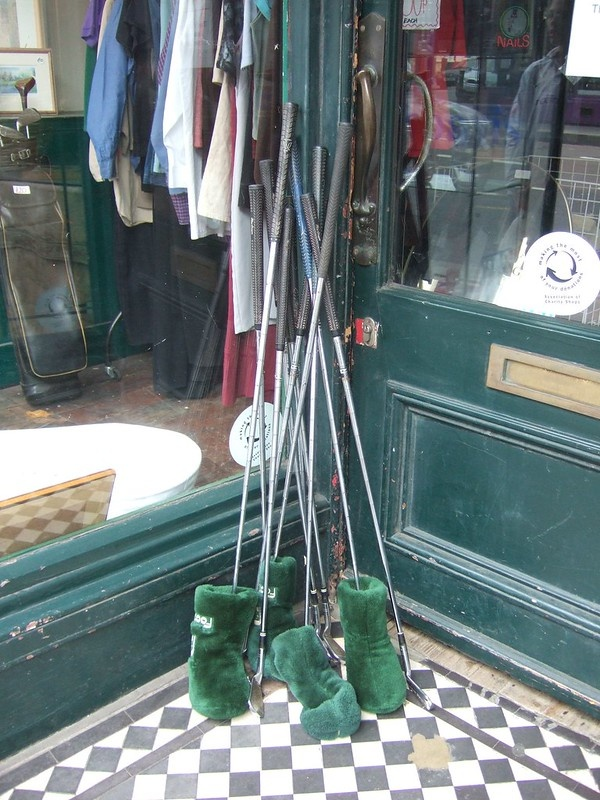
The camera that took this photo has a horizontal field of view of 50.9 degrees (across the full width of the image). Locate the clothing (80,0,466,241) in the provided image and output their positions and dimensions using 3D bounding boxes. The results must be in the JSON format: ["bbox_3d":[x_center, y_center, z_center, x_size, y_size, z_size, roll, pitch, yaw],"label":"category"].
[{"bbox_3d":[-0.057,-0.632,1.379,0.489,0.501,0.053,-7,30,-32],"label":"clothing"}]

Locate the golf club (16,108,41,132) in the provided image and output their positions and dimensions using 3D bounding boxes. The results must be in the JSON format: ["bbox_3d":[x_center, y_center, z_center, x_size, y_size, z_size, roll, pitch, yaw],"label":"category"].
[{"bbox_3d":[-0.534,-0.552,1.238,0.012,0.024,0.049,-8,23,23],"label":"golf club"}]

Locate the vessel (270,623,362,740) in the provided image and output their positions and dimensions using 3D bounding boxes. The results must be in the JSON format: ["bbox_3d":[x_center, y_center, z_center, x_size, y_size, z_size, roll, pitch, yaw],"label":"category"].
[{"bbox_3d":[0.024,0.628,1.430,0.128,0.102,0.250,-30,82,-47],"label":"vessel"}]

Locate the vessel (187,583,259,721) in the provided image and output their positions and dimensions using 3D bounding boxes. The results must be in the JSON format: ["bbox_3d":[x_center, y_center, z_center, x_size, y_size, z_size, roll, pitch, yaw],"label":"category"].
[{"bbox_3d":[-0.167,0.559,1.451,0.143,0.308,0.306,8,5,-2],"label":"vessel"}]
